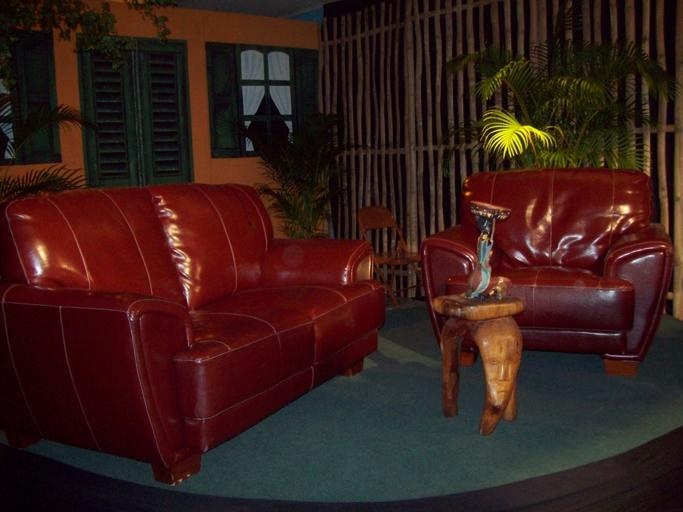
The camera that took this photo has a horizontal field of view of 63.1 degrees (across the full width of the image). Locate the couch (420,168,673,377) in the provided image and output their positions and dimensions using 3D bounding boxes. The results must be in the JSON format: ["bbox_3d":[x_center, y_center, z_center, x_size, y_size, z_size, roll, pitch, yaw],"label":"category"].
[{"bbox_3d":[1.404,0.064,3.808,1.449,1.207,1.152,1,10,28],"label":"couch"}]

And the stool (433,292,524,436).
[{"bbox_3d":[0.701,0.537,2.873,0.438,0.687,0.372,3,13,21],"label":"stool"}]

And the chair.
[{"bbox_3d":[0.498,-0.024,5.442,0.563,0.861,0.654,-7,14,-21],"label":"chair"}]
